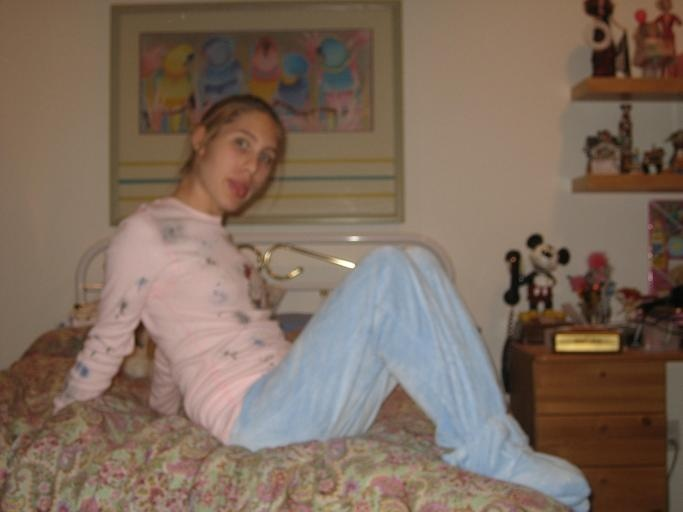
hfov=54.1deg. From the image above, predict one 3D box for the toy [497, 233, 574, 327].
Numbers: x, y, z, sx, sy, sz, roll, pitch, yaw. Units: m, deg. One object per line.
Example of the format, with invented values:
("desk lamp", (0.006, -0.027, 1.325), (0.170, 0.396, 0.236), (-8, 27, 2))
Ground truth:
("toy", (1.017, 0.151, 3.548), (0.405, 0.755, 0.182), (1, -10, 5))
